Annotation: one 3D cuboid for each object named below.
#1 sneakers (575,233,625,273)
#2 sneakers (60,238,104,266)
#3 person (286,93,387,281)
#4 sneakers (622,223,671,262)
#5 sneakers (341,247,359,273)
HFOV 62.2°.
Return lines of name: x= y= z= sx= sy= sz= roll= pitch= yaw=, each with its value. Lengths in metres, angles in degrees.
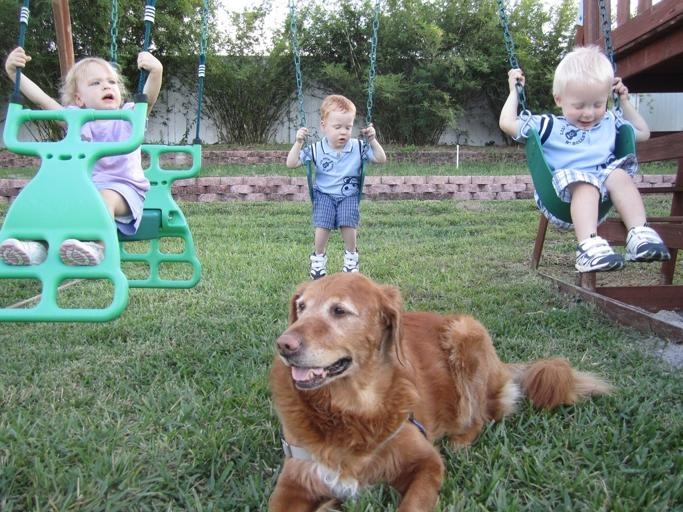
sneakers: x=1.621 y=-0.002 z=3.591 sx=0.183 sy=0.249 sz=0.348 roll=-1 pitch=6 yaw=-3
sneakers: x=-1.516 y=-0.018 z=3.231 sx=0.267 sy=0.133 sz=0.136 roll=11 pitch=6 yaw=-5
person: x=-0.047 y=-0.632 z=5.129 sx=0.855 sy=1.631 sz=0.413 roll=0 pitch=6 yaw=4
sneakers: x=1.892 y=-0.081 z=3.529 sx=0.138 sy=0.168 sz=0.347 roll=1 pitch=11 yaw=10
sneakers: x=0.089 y=0.041 z=5.033 sx=0.121 sy=0.180 sz=0.264 roll=-1 pitch=6 yaw=-3
